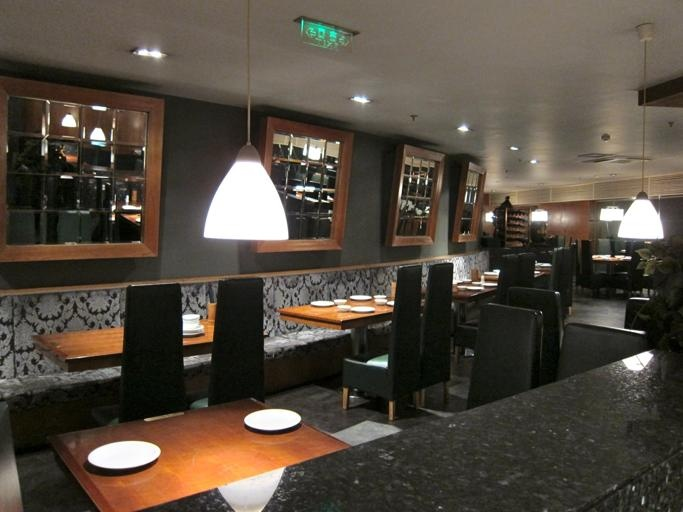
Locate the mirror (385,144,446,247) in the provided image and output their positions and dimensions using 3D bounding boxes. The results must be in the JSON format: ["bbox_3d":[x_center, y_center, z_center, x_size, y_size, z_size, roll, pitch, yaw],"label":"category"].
[{"bbox_3d":[1.007,-0.878,6.806,0.165,1.569,1.387,10,1,35],"label":"mirror"}]

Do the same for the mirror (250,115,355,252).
[{"bbox_3d":[-0.377,-0.764,4.755,0.186,1.630,1.513,6,3,43],"label":"mirror"}]

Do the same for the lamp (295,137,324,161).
[{"bbox_3d":[-0.325,-1.188,5.365,0.262,0.245,0.065,-1,13,-39],"label":"lamp"}]

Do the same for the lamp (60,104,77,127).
[{"bbox_3d":[-2.130,-1.097,3.794,0.144,0.147,0.141,-11,24,-36],"label":"lamp"}]

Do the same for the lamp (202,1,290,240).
[{"bbox_3d":[-0.545,-0.724,2.688,0.355,1.126,1.347,-5,1,-8],"label":"lamp"}]

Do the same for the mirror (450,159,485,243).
[{"bbox_3d":[2.134,-0.974,8.266,0.155,1.503,1.334,7,0,29],"label":"mirror"}]
